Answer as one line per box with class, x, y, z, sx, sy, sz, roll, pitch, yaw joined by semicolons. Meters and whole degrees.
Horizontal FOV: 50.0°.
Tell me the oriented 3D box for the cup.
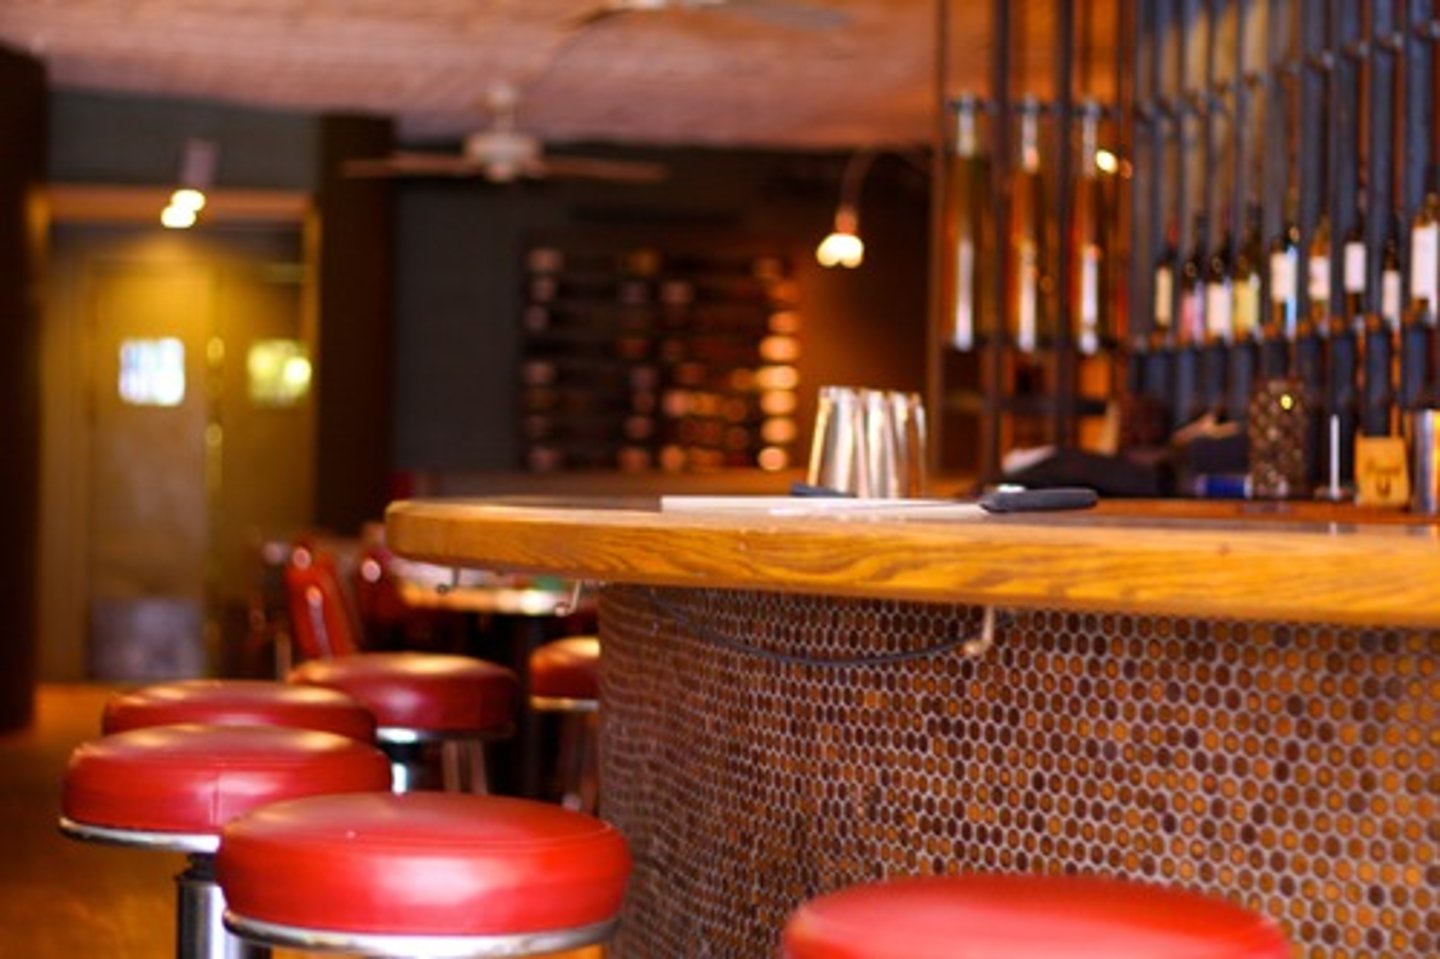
cup;0.265;-0.065;2.785;0.204;0.207;0.403;0;0;9
